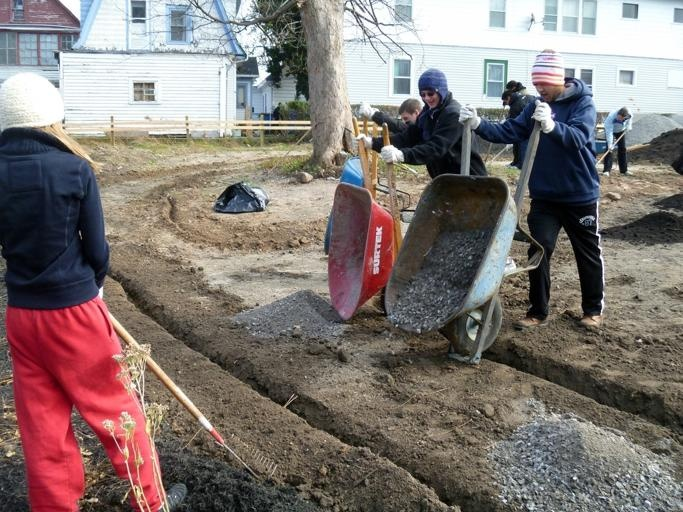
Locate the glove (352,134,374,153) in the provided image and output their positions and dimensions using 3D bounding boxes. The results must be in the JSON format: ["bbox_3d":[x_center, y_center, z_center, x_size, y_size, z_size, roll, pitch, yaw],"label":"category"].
[{"bbox_3d":[0.203,-1.081,5.854,0.152,0.159,0.119,9,20,-24],"label":"glove"}]

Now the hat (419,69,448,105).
[{"bbox_3d":[0.867,-1.560,5.624,0.305,0.298,0.220,12,-12,-43],"label":"hat"}]

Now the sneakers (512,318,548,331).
[{"bbox_3d":[1.708,0.608,5.546,0.313,0.122,0.113,2,9,-12],"label":"sneakers"}]

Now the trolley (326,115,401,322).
[{"bbox_3d":[0.162,-0.278,5.814,0.649,1.869,0.937,-18,24,-22],"label":"trolley"}]

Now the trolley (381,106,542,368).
[{"bbox_3d":[0.919,-0.052,4.933,0.947,2.001,1.243,8,16,34],"label":"trolley"}]

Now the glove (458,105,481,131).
[{"bbox_3d":[1.102,-1.140,5.044,0.144,0.213,0.369,7,6,29],"label":"glove"}]

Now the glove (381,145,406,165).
[{"bbox_3d":[0.456,-0.891,5.360,0.090,0.144,0.192,-21,19,-17],"label":"glove"}]

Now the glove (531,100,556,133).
[{"bbox_3d":[1.573,-1.067,4.777,0.117,0.225,0.197,9,16,37],"label":"glove"}]

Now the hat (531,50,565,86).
[{"bbox_3d":[1.682,-1.561,5.085,0.321,0.302,0.282,-16,24,-36],"label":"hat"}]
